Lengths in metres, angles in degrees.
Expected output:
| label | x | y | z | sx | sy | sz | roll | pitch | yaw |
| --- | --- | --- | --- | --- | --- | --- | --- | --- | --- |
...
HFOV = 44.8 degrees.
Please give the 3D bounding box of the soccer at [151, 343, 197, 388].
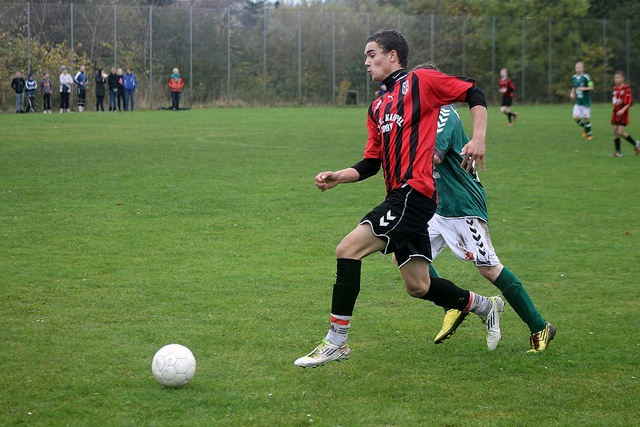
| label | x | y | z | sx | sy | sz | roll | pitch | yaw |
| --- | --- | --- | --- | --- | --- | --- | --- | --- | --- |
| soccer | -1.734 | 1.809 | 9.289 | 0.498 | 0.466 | 0.436 | -9 | -1 | -6 |
